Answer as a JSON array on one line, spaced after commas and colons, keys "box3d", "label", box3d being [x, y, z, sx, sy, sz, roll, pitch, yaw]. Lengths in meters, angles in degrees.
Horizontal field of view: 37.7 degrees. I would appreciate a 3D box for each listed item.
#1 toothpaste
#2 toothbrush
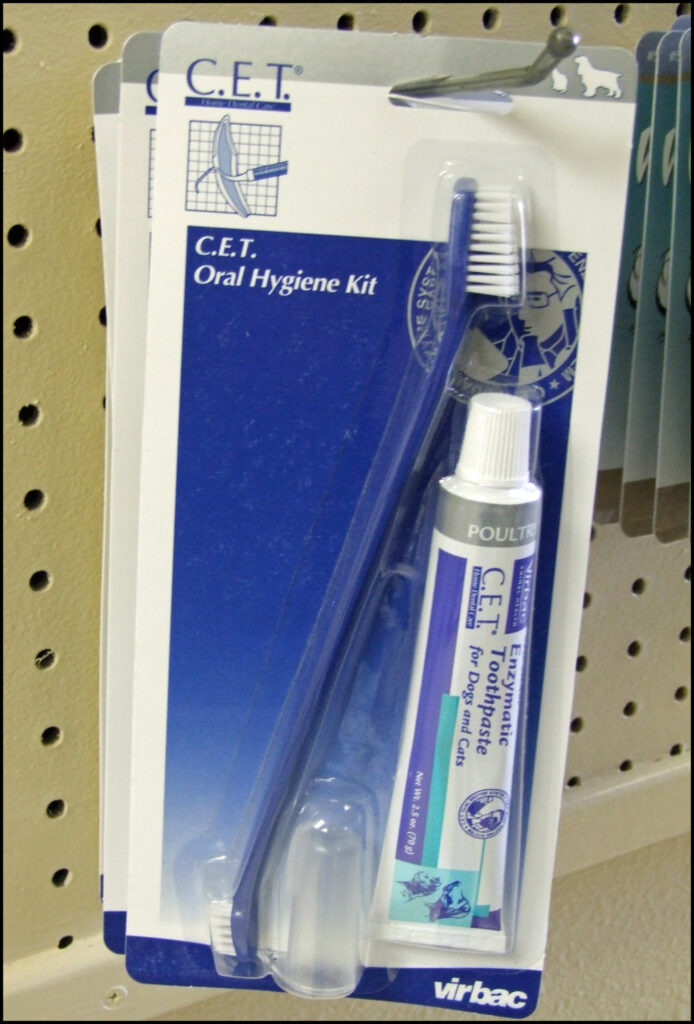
[{"box3d": [0.043, 0.073, 0.407, 0.057, 0.238, 0.036, 2, 8, 2], "label": "toothpaste"}, {"box3d": [0.021, 0.048, 0.445, 0.032, 0.364, 0.133, 27, 21, 35], "label": "toothbrush"}]
